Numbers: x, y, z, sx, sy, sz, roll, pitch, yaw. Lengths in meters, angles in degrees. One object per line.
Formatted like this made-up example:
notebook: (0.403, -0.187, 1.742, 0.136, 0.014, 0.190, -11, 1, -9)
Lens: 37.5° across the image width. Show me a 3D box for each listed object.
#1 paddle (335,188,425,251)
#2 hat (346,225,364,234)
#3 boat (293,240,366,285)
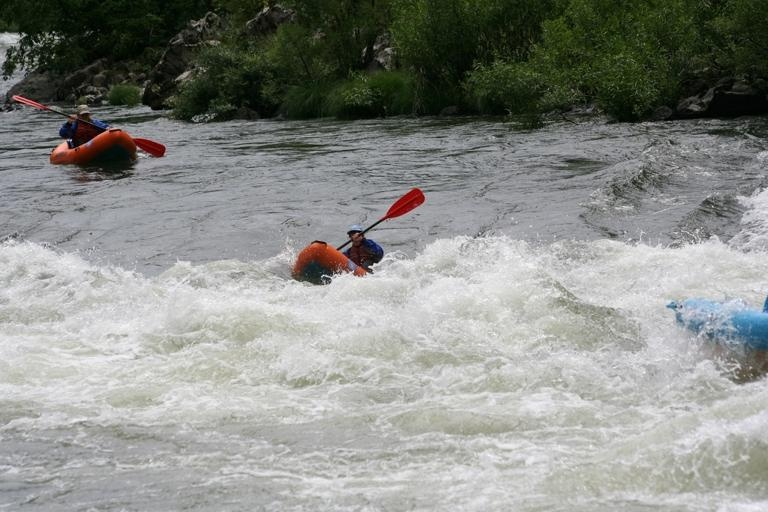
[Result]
paddle: (-0.046, -0.570, 18.810, 2.210, 0.286, 0.146, -29, 1, -5)
hat: (-0.427, -0.412, 17.585, 0.217, 0.137, 0.262, 3, 15, 1)
boat: (-0.885, 0.151, 16.699, 1.040, 0.542, 0.337, 17, -28, 54)
